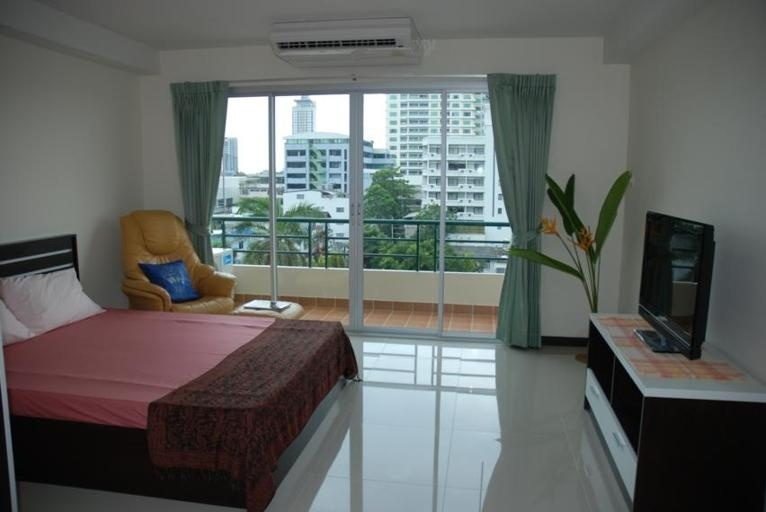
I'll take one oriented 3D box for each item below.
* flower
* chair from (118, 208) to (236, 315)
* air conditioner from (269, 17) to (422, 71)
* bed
[{"bbox_3d":[2.092,0.044,5.373,0.709,1.078,0.932,9,-14,4],"label":"flower"},{"bbox_3d":[-2.105,0.157,5.531,1.000,1.259,1.069,2,4,20],"label":"chair"},{"bbox_3d":[-0.330,-2.088,5.235,1.395,0.311,0.646,0,9,7],"label":"air conditioner"},{"bbox_3d":[-1.385,0.985,3.916,1.956,1.139,2.068,2,9,10],"label":"bed"}]
